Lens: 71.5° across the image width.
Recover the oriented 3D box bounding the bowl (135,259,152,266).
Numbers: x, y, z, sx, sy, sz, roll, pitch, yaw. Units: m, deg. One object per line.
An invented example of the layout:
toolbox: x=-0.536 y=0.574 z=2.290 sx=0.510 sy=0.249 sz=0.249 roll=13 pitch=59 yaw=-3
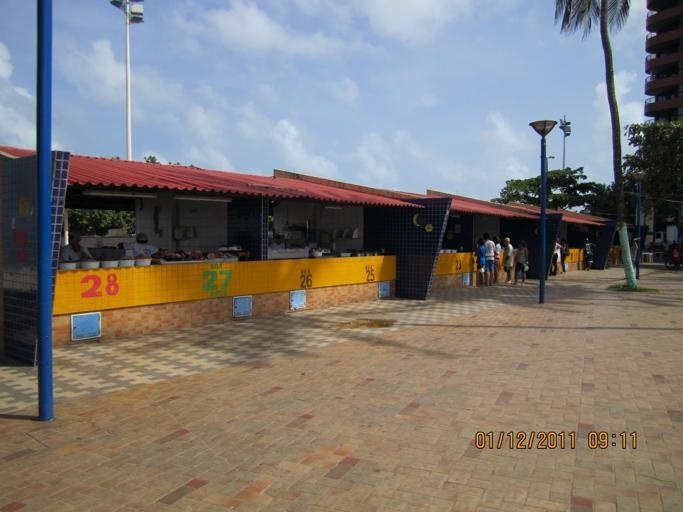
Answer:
bowl: x=-4.041 y=0.121 z=9.726 sx=0.138 sy=0.152 sz=0.334 roll=3 pitch=6 yaw=38

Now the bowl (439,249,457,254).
bowl: x=4.145 y=-0.185 z=18.197 sx=0.392 sy=0.166 sz=1.581 roll=2 pitch=5 yaw=28

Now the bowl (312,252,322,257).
bowl: x=-0.688 y=-0.039 z=14.033 sx=0.185 sy=0.107 sz=0.192 roll=-1 pitch=-4 yaw=0

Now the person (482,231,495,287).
person: x=5.960 y=0.135 z=19.150 sx=0.460 sy=2.121 sz=1.288 roll=1 pitch=5 yaw=19

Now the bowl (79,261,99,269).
bowl: x=-4.819 y=0.166 z=9.093 sx=0.239 sy=0.097 sz=0.177 roll=1 pitch=-2 yaw=-5
